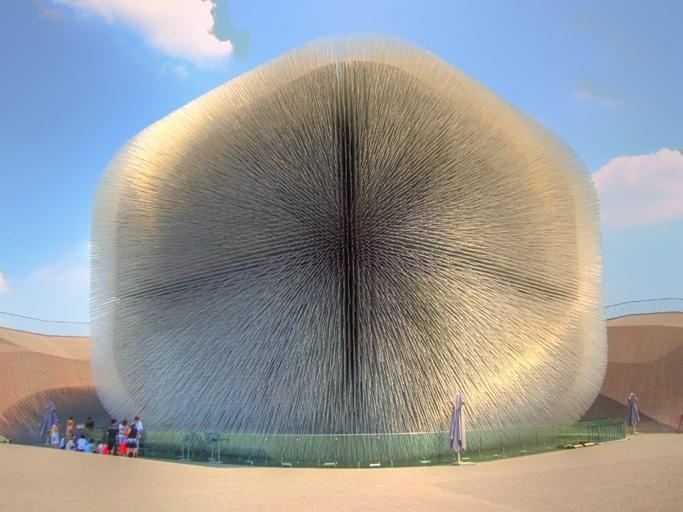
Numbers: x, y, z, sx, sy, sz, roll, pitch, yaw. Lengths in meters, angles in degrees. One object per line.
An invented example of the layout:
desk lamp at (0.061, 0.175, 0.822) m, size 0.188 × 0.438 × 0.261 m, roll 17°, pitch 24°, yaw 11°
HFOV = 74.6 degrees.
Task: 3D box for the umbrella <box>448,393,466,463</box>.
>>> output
umbrella at (2.638, 3.850, 10.233) m, size 0.367 × 1.442 × 0.737 m, roll -2°, pitch -15°, yaw 13°
